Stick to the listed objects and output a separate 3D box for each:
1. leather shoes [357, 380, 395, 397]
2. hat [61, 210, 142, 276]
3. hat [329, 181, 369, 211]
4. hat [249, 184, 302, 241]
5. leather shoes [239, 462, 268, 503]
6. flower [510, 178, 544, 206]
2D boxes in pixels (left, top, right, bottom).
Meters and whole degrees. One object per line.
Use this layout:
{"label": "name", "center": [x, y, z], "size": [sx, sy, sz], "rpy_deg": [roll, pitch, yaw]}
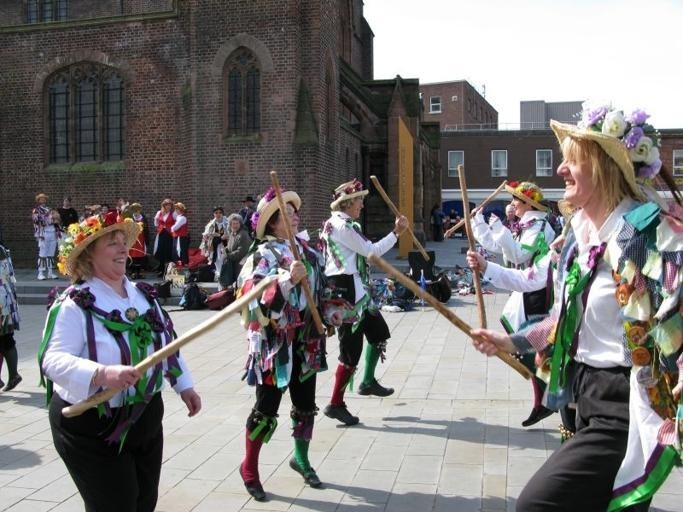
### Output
{"label": "leather shoes", "center": [0.347, 1.408, 9.866], "size": [0.464, 0.201, 0.152], "rpy_deg": [-1, 4, -2]}
{"label": "hat", "center": [-1.702, -0.095, 6.507], "size": [0.574, 0.453, 0.315], "rpy_deg": [-3, 7, -16]}
{"label": "hat", "center": [0.044, -0.626, 9.434], "size": [0.345, 0.150, 0.302], "rpy_deg": [-29, -2, 23]}
{"label": "hat", "center": [-0.568, -0.346, 7.610], "size": [0.392, 0.430, 0.604], "rpy_deg": [-1, 7, 1]}
{"label": "leather shoes", "center": [-0.709, 1.820, 7.518], "size": [0.181, 0.270, 0.268], "rpy_deg": [-4, 7, -19]}
{"label": "flower", "center": [1.846, -0.668, 9.427], "size": [0.315, 0.109, 0.297], "rpy_deg": [37, 8, 36]}
